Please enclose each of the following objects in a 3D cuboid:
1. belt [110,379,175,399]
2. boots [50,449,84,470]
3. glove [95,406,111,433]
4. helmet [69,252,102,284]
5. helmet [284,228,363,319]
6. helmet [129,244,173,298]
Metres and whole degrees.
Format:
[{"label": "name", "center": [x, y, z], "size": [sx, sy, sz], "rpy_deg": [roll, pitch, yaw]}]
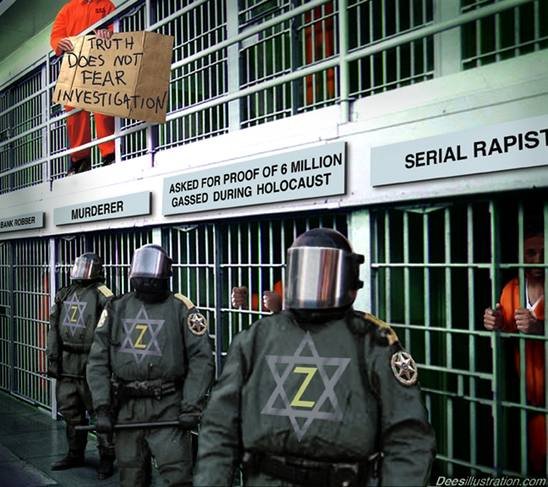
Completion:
[{"label": "belt", "center": [-1.100, 1.208, 6.751], "size": [0.288, 0.125, 0.238], "rpy_deg": [0, -6, 5]}, {"label": "boots", "center": [-2.188, 2.255, 8.426], "size": [0.360, 0.305, 0.130], "rpy_deg": [2, -6, -24]}, {"label": "glove", "center": [-1.404, 1.435, 6.592], "size": [0.148, 0.210, 0.143], "rpy_deg": [1, -2, -5]}, {"label": "helmet", "center": [-2.056, 0.262, 8.762], "size": [0.220, 0.331, 0.342], "rpy_deg": [-1, -8, -1]}, {"label": "helmet", "center": [0.307, 0.194, 4.952], "size": [0.348, 0.493, 0.500], "rpy_deg": [-1, -9, 20]}, {"label": "helmet", "center": [-1.090, 0.262, 6.935], "size": [0.280, 0.482, 0.435], "rpy_deg": [1, -20, 4]}]
